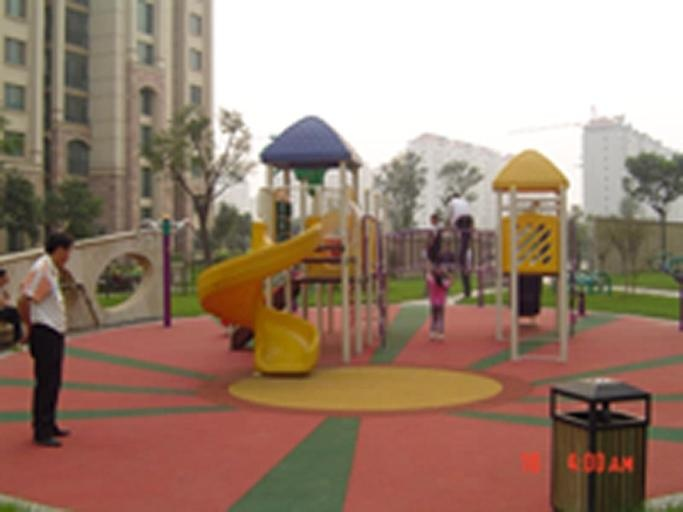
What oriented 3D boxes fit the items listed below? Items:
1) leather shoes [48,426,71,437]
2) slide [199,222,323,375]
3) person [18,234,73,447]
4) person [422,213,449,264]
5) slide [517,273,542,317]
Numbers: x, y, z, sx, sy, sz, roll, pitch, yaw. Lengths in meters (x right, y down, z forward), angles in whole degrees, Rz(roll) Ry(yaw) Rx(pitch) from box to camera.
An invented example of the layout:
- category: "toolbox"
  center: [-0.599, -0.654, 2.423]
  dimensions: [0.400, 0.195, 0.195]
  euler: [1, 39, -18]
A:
- category: "leather shoes"
  center: [-3.513, 2.175, 11.069]
  dimensions: [0.240, 0.125, 0.083]
  euler: [-2, 6, -6]
- category: "slide"
  center: [-1.307, 0.803, 14.710]
  dimensions: [1.930, 3.229, 1.994]
  euler: [1, -8, 3]
- category: "person"
  center: [-3.576, 1.016, 10.812]
  dimensions: [0.630, 2.536, 0.484]
  euler: [-2, 8, -17]
- category: "person"
  center: [2.437, -0.360, 22.954]
  dimensions: [0.554, 2.302, 0.598]
  euler: [6, -28, -1]
- category: "slide"
  center: [3.758, 0.810, 17.974]
  dimensions: [0.341, 0.958, 0.853]
  euler: [4, 9, 28]
